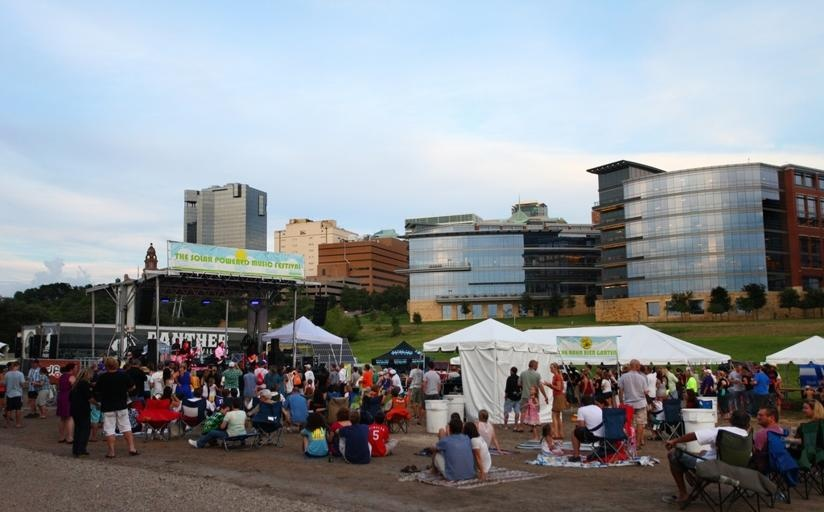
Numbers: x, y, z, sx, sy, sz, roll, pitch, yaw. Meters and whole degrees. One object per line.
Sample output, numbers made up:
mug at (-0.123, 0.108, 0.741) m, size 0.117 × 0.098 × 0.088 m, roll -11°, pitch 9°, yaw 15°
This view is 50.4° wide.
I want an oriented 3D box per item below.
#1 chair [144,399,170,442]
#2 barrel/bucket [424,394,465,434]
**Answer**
chair at (-9.888, 6.153, 33.080) m, size 1.499 × 1.581 × 1.541 m, roll 2°, pitch -13°, yaw -22°
barrel/bucket at (1.259, 6.475, 35.626) m, size 1.624 × 1.014 × 1.316 m, roll -9°, pitch -12°, yaw 35°
